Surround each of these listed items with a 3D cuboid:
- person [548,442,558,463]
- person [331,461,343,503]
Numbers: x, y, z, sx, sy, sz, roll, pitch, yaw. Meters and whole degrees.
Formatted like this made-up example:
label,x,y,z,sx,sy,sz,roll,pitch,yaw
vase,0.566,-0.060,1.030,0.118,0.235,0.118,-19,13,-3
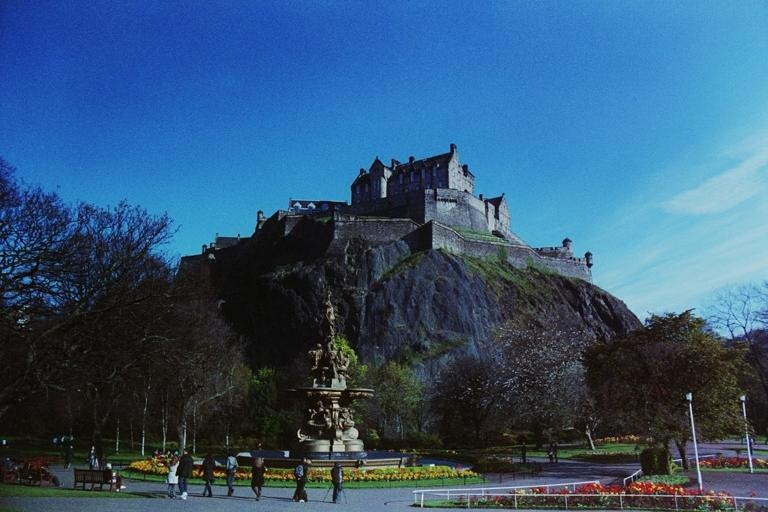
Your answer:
label,x,y,z,sx,sy,sz,roll,pitch,yaw
person,12.597,14.857,54.375,0.648,1.547,2.396,-8,-23,8
person,-2.371,11.330,35.990,0.450,1.887,0.984,-1,-23,-8
